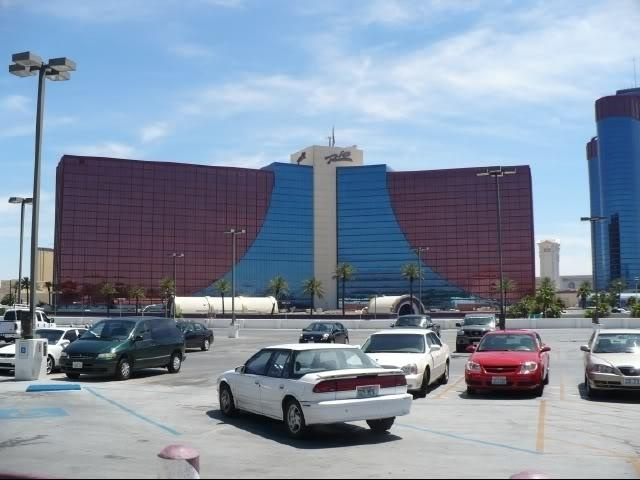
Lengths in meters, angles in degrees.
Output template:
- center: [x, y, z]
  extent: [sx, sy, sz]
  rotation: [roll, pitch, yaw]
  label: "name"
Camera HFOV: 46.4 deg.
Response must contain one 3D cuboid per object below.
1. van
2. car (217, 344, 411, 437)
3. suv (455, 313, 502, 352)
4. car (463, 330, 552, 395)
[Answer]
- center: [-6.316, 3.514, 24.250]
  extent: [1.505, 1.916, 3.686]
  rotation: [-3, -5, 32]
  label: "van"
- center: [-0.429, 3.191, 16.452]
  extent: [2.018, 1.106, 3.373]
  rotation: [2, -1, -38]
  label: "car"
- center: [7.467, 4.492, 36.037]
  extent: [2.073, 1.445, 3.363]
  rotation: [-3, -9, 15]
  label: "suv"
- center: [5.236, 3.467, 20.790]
  extent: [2.089, 1.679, 2.327]
  rotation: [-2, -4, 20]
  label: "car"
